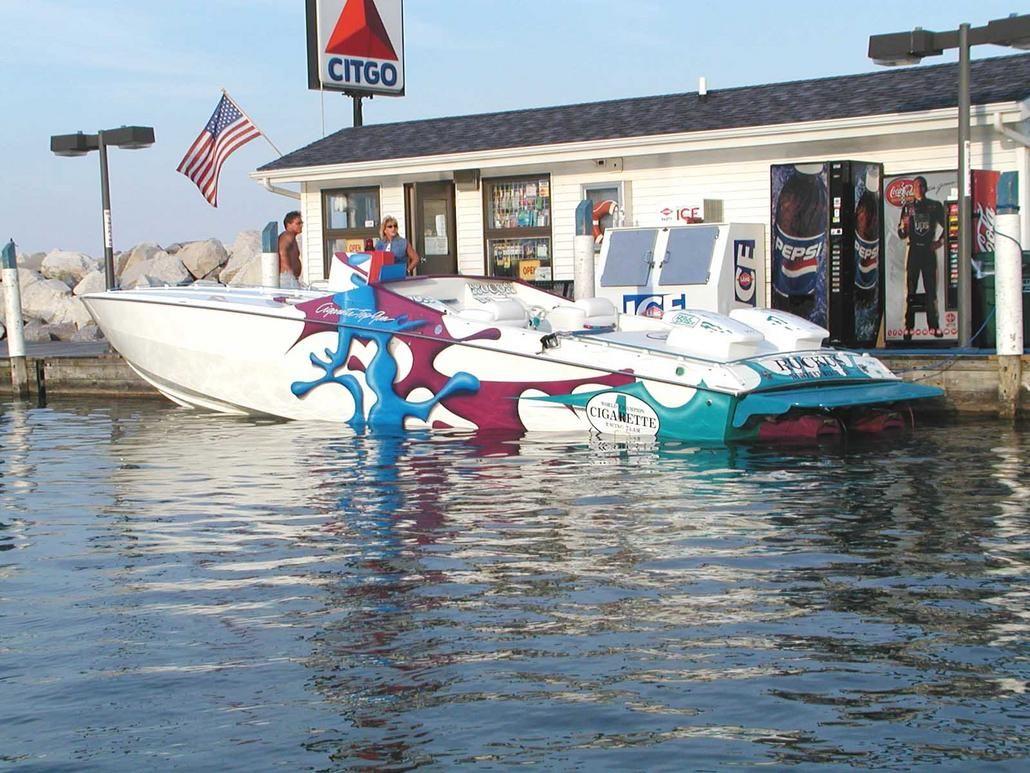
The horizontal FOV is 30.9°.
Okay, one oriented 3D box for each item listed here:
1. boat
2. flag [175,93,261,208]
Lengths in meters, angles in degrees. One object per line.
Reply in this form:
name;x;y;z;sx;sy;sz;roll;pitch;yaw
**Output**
boat;-1.285;-0.441;19.977;10.670;1.562;2.634;4;6;32
flag;-4.185;-3.346;26.259;0.877;1.581;0.496;-5;7;-41
